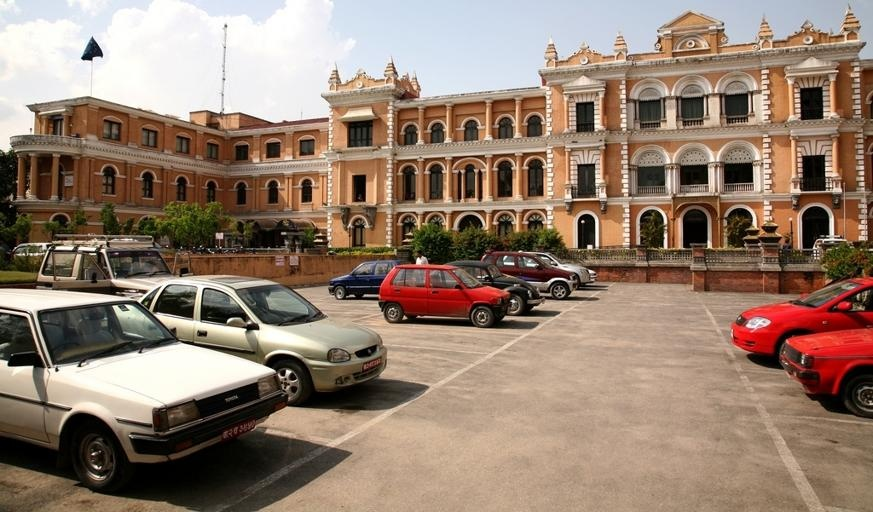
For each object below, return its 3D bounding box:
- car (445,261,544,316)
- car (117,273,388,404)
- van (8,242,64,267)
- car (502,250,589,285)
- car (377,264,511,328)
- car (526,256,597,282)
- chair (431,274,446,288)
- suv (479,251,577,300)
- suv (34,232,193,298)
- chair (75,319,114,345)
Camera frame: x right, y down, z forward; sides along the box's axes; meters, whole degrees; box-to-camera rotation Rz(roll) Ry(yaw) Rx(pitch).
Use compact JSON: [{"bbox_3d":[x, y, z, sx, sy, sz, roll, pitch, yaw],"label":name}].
[{"bbox_3d":[2.502,1.290,25.708,3.572,1.444,2.045,1,2,19],"label":"car"},{"bbox_3d":[-4.797,2.116,16.787,6.570,2.271,2.931,6,5,18],"label":"car"},{"bbox_3d":[-15.941,-0.021,24.610,1.950,0.885,1.113,3,4,12],"label":"van"},{"bbox_3d":[6.737,0.826,34.020,4.004,1.270,1.968,1,1,10],"label":"car"},{"bbox_3d":[0.440,1.438,23.307,4.255,1.820,2.278,-1,1,15],"label":"car"},{"bbox_3d":[6.923,0.885,34.150,3.662,1.150,1.691,-1,1,9],"label":"car"},{"bbox_3d":[0.050,0.903,22.558,0.470,0.425,0.442,-2,3,-36],"label":"chair"},{"bbox_3d":[4.745,0.939,31.001,4.006,1.746,2.397,0,2,11],"label":"suv"},{"bbox_3d":[-11.138,0.328,20.905,4.539,2.449,3.029,0,3,12],"label":"suv"},{"bbox_3d":[-7.591,1.618,13.874,0.656,0.722,0.542,2,6,33],"label":"chair"}]
